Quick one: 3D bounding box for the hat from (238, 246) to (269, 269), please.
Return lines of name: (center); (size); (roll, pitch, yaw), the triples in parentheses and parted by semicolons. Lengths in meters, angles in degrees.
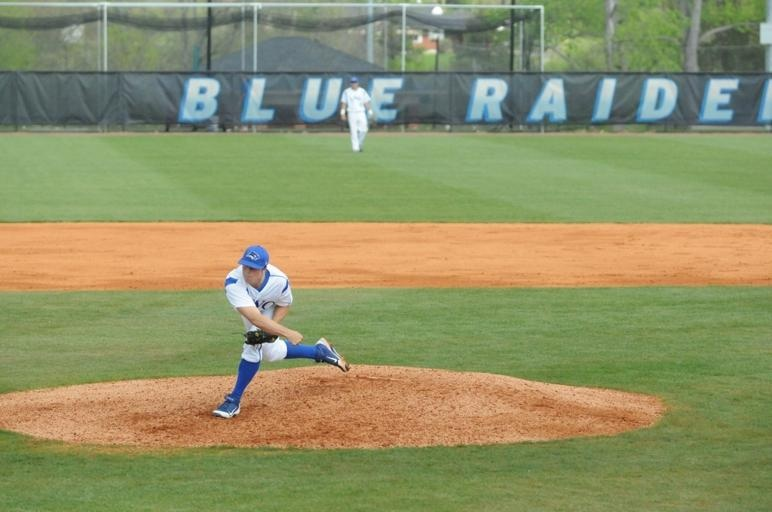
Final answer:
hat: (-2.971, 0.030, 38.966); (0.626, 0.519, 0.261); (0, 8, -5)
